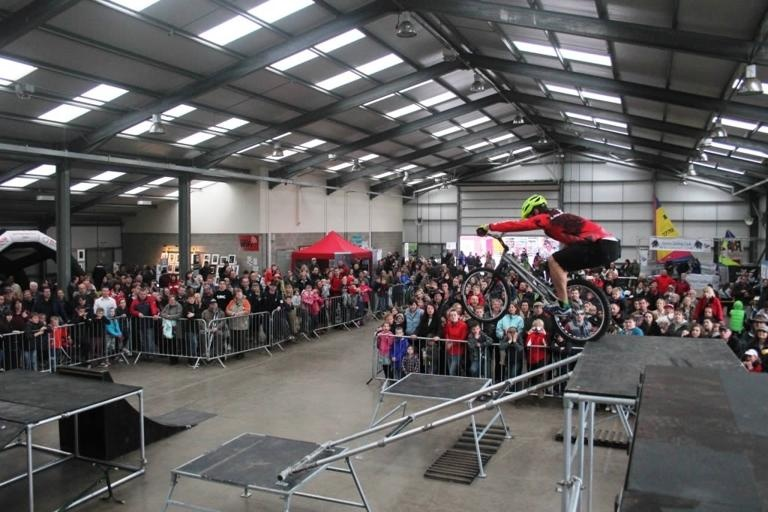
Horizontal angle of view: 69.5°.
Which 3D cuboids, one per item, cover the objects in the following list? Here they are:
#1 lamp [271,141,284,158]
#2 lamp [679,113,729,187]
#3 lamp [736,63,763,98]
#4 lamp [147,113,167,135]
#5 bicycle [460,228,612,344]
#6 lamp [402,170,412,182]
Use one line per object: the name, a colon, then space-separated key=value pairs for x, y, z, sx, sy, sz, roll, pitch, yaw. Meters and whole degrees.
lamp: x=-4.009 y=-4.027 z=20.652 sx=0.311 sy=0.734 sz=1.257 roll=0 pitch=-1 yaw=-7
lamp: x=12.379 y=-4.149 z=21.391 sx=0.479 sy=0.872 sz=2.443 roll=6 pitch=-25 yaw=13
lamp: x=7.518 y=-3.674 z=11.342 sx=0.355 sy=0.645 sz=0.499 roll=-1 pitch=-1 yaw=21
lamp: x=-6.774 y=-3.961 z=16.372 sx=0.285 sy=0.608 sz=0.592 roll=0 pitch=-1 yaw=-23
bicycle: x=2.361 y=0.462 z=8.950 sx=2.589 sy=1.550 sz=1.178 roll=8 pitch=6 yaw=39
lamp: x=1.299 y=-4.705 z=32.203 sx=0.852 sy=0.410 sz=1.167 roll=-1 pitch=3 yaw=-1
